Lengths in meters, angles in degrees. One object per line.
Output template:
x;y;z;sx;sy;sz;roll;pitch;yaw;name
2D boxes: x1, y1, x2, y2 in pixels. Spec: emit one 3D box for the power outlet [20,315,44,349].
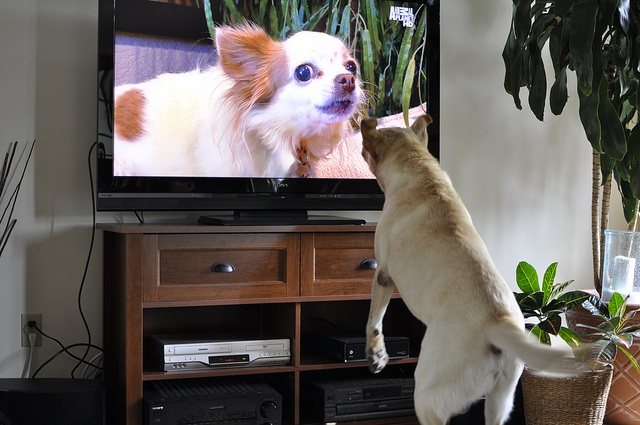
-1.547;0.634;2.979;0.105;0.183;0.040;-3;9;-7;power outlet
